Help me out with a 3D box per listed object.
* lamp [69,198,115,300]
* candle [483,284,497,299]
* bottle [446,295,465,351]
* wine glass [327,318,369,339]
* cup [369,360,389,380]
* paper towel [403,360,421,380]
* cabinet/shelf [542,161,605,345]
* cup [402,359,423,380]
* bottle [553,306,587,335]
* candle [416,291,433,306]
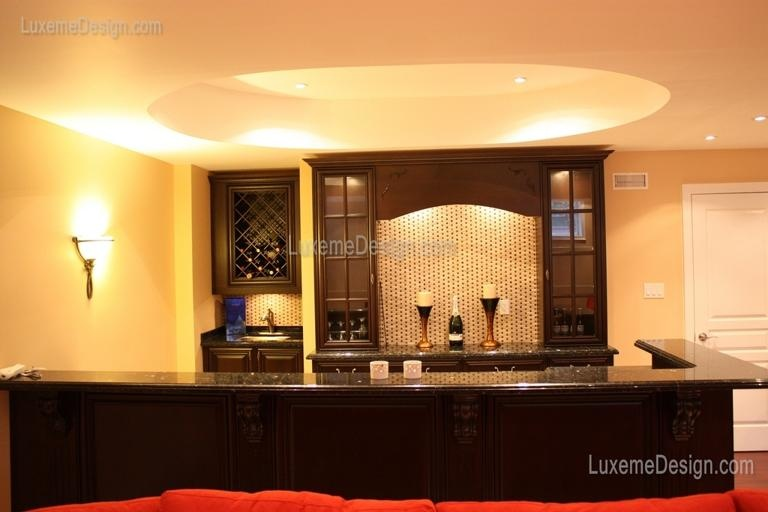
[{"bbox_3d":[-2.659,-0.063,7.144,0.192,0.924,0.496,-2,-4,16],"label":"lamp"},{"bbox_3d":[1.094,0.365,8.089,0.148,0.163,0.176,-1,-4,7],"label":"candle"},{"bbox_3d":[0.751,0.694,8.136,0.163,0.563,0.301,-1,-4,4],"label":"bottle"},{"bbox_3d":[-0.390,0.764,8.098,0.411,0.226,0.081,-2,-4,14],"label":"wine glass"},{"bbox_3d":[-0.040,0.899,6.079,0.137,0.097,0.136,-1,-6,0],"label":"cup"},{"bbox_3d":[0.217,0.886,6.040,0.138,0.097,0.136,0,-6,-1],"label":"paper towel"},{"bbox_3d":[1.948,-0.020,7.945,0.599,1.838,0.202,-1,-4,11],"label":"cabinet/shelf"},{"bbox_3d":[0.220,0.883,6.026,0.141,0.100,0.139,0,-6,0],"label":"cup"},{"bbox_3d":[1.922,0.669,7.973,0.296,0.273,0.092,0,-4,-2],"label":"bottle"},{"bbox_3d":[0.410,0.445,8.114,0.161,0.162,0.185,-1,-4,0],"label":"candle"}]
